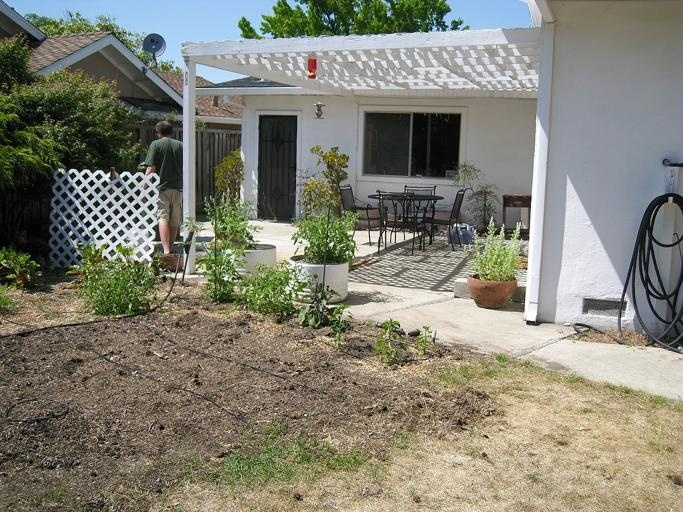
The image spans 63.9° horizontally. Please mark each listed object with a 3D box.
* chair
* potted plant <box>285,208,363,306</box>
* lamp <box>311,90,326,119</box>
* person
[{"bbox_3d":[1.167,-0.770,10.260,2.038,1.123,2.779,4,13,10],"label":"chair"},{"bbox_3d":[-0.168,-0.087,6.329,0.912,1.359,0.872,1,7,-2],"label":"potted plant"},{"bbox_3d":[-0.507,-3.377,12.392,0.345,0.725,0.460,0,4,-3],"label":"lamp"},{"bbox_3d":[-2.487,-0.849,7.643,0.437,1.575,0.746,0,11,-3],"label":"person"}]
